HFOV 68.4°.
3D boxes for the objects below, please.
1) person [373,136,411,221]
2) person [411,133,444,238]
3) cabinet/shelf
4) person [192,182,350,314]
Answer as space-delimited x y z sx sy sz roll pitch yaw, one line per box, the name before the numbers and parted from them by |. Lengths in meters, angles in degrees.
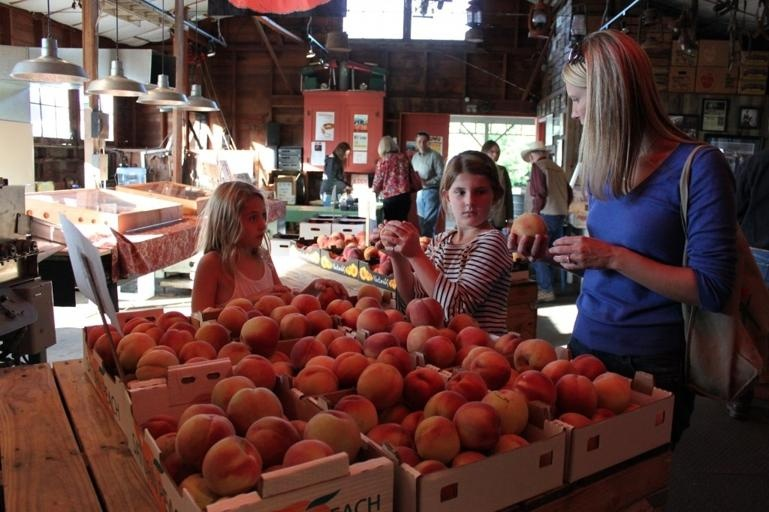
person | 0.097 -1.091 8.050 0.592 1.432 0.630 0 9 -2
person | 0.619 -1.020 8.235 0.368 1.698 0.381 1 12 -12
cabinet/shelf | -0.736 -2.441 10.789 1.516 1.806 0.374 -1 9 -1
person | -0.739 -0.048 2.931 0.480 1.077 0.520 5 6 37
